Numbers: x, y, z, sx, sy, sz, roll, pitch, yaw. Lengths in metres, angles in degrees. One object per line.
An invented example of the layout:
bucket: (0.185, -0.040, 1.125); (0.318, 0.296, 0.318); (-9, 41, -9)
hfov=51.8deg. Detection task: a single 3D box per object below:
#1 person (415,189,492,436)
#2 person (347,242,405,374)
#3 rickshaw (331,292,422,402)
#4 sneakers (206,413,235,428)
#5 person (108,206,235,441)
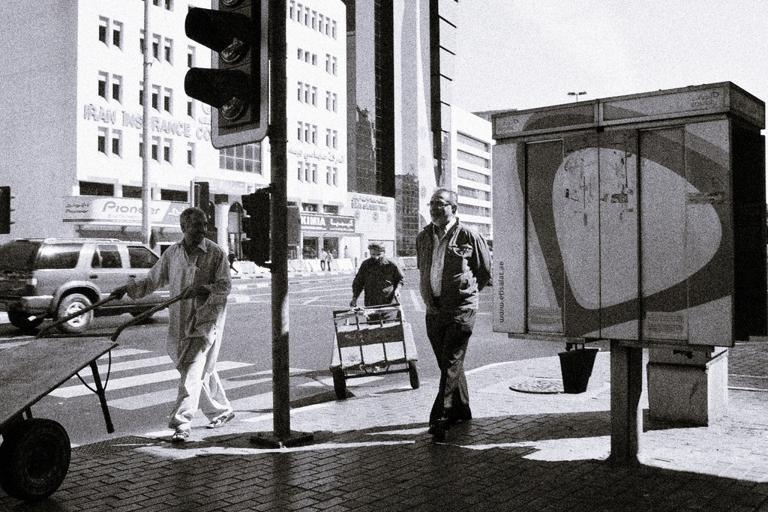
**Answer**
person: (0.688, 0.640, 9.301); (0.921, 2.669, 0.983); (0, 0, 43)
person: (-0.094, 0.651, 13.219); (0.892, 1.687, 0.578); (-2, 10, -5)
rickshaw: (-0.007, 1.361, 12.282); (1.263, 1.343, 2.053); (-7, 0, 10)
sneakers: (-1.935, 1.965, 9.391); (0.113, 0.134, 0.354); (-3, -1, 30)
person: (-2.475, 0.771, 9.237); (1.251, 2.597, 1.068); (0, -3, -4)
